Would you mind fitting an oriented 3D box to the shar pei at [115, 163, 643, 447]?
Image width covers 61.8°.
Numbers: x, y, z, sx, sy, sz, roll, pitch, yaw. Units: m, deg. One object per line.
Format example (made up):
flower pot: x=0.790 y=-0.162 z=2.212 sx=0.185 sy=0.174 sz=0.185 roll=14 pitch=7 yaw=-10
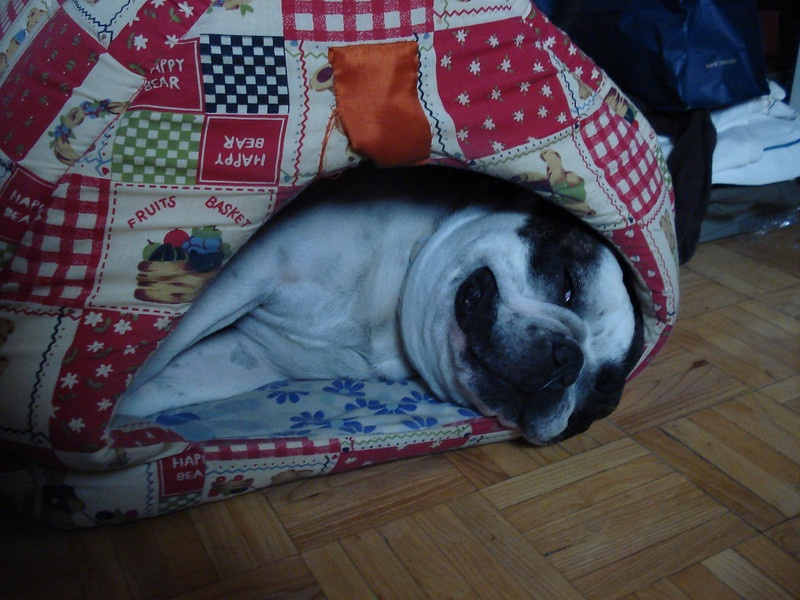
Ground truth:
shar pei: x=0.027 y=-0.032 z=1.328 sx=0.969 sy=0.653 sz=0.255 roll=2 pitch=74 yaw=22
